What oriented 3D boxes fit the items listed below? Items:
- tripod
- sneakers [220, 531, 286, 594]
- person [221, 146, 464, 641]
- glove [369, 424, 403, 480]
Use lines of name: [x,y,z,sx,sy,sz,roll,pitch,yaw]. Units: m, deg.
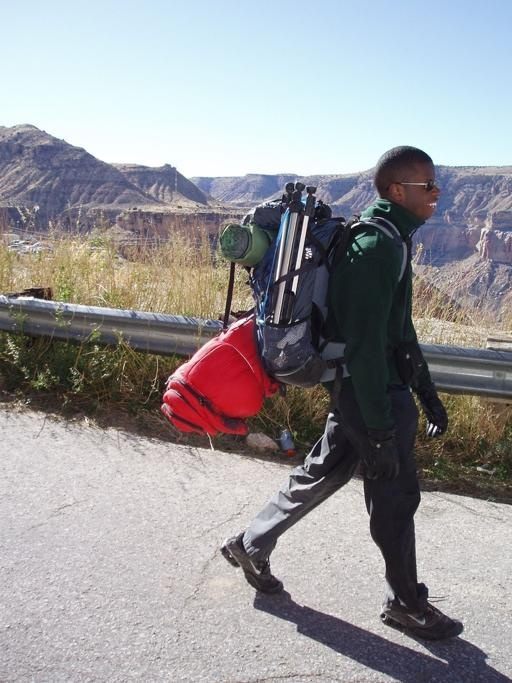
tripod: [0.118,-0.290,1.871,0.113,0.464,0.129,5,9,0]
sneakers: [-0.020,0.923,2.266,0.248,0.171,0.083,43,47,6]
person: [0.339,0.190,2.063,1.041,1.750,0.566,4,10,23]
glove: [0.416,0.370,1.816,0.128,0.160,0.067,1,17,13]
